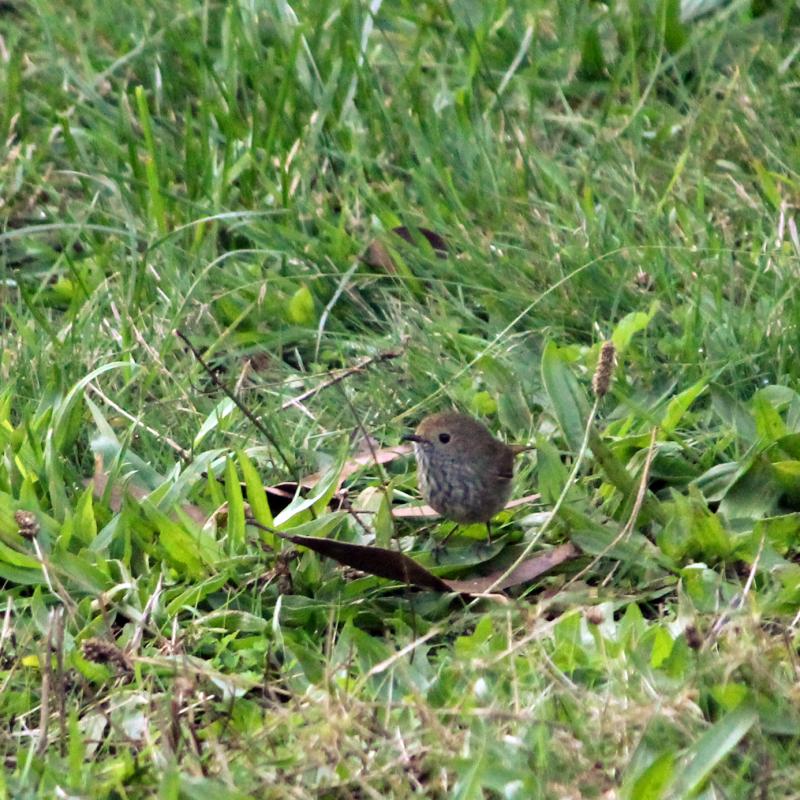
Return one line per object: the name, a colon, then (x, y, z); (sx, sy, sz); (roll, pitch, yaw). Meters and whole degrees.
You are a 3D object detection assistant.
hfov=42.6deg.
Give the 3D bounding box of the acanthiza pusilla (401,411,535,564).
acanthiza pusilla: (0.240, 0.211, 3.166); (0.253, 0.456, 0.513); (1, 14, 44)
